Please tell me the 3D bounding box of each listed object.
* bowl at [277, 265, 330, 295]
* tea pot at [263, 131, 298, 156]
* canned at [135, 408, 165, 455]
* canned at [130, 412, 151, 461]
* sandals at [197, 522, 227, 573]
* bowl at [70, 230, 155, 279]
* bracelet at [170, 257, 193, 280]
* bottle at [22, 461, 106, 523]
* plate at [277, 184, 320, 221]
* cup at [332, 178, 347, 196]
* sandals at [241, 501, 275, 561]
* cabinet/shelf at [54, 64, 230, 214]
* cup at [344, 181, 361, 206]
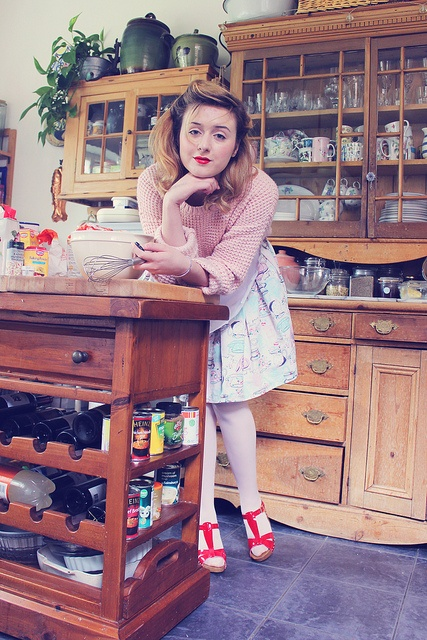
[{"bbox_3d":[0.348,-0.151,1.872,0.140,0.071,0.138,0,-1,0],"label":"bowl"},{"bbox_3d":[0.276,-0.725,2.027,0.118,0.078,0.087,-7,15,-21],"label":"tea pot"},{"bbox_3d":[-0.132,0.210,0.918,0.072,0.079,0.071,2,-2,-23],"label":"canned"},{"bbox_3d":[-0.124,0.200,0.849,0.032,0.080,0.072,5,-6,-6],"label":"canned"},{"bbox_3d":[-0.010,0.593,1.285,0.054,0.072,0.174,-1,-11,-4],"label":"sandals"},{"bbox_3d":[-0.194,-0.113,0.846,0.095,0.055,0.096,3,9,0],"label":"bowl"},{"bbox_3d":[-0.066,-0.100,0.994,0.010,0.038,0.041,30,32,16],"label":"bracelet"},{"bbox_3d":[-0.295,0.367,1.068,0.142,0.046,0.134,4,5,0],"label":"bottle"},{"bbox_3d":[0.345,-0.463,2.026,0.176,0.176,0.030,25,24,32],"label":"plate"},{"bbox_3d":[0.494,-0.532,1.989,0.084,0.081,0.060,-1,7,11],"label":"cup"},{"bbox_3d":[0.121,0.596,1.386,0.059,0.067,0.175,-14,21,4],"label":"sandals"},{"bbox_3d":[-0.376,-0.880,2.498,0.720,0.607,0.267,4,-2,23],"label":"cabinet/shelf"},{"bbox_3d":[0.551,-0.497,1.931,0.082,0.065,0.094,3,13,21],"label":"cup"}]
